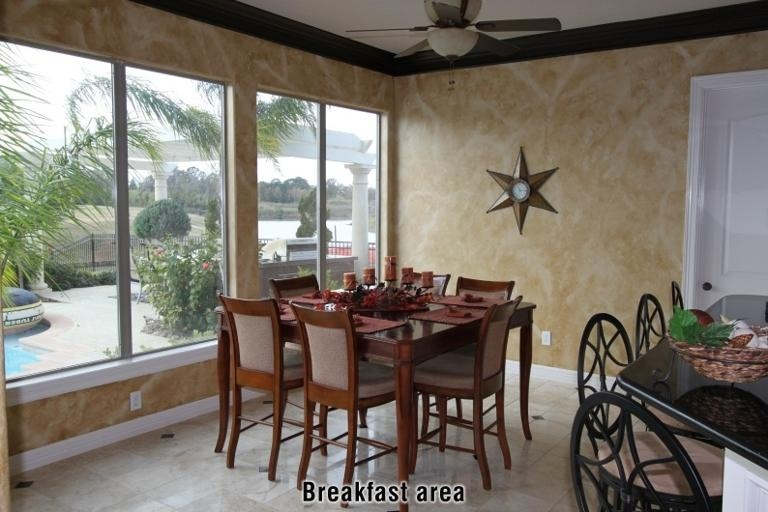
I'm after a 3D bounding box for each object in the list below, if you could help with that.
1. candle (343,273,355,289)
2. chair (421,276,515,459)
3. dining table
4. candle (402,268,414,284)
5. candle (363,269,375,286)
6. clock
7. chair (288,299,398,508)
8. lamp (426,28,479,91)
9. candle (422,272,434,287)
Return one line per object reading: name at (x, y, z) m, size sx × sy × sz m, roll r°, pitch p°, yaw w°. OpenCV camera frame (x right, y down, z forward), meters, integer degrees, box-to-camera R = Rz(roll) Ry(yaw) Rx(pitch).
candle at (-0.276, 0.211, 4.742) m, size 0.118 × 0.117 × 0.115 m, roll 0°, pitch -2°, yaw -24°
chair at (0.588, 1.000, 5.079) m, size 0.969 × 1.434 × 0.838 m, roll -14°, pitch 21°, yaw -31°
dining table at (-0.174, 0.698, 4.469) m, size 1.764 × 1.082 × 1.741 m, roll 1°, pitch 3°, yaw 36°
candle at (0.180, 0.166, 4.868) m, size 0.114 × 0.109 × 0.115 m, roll 3°, pitch 6°, yaw 41°
candle at (-0.124, 0.166, 4.846) m, size 0.093 × 0.144 × 0.209 m, roll -1°, pitch 13°, yaw -2°
clock at (1.466, -0.699, 6.132) m, size 0.984 × 1.188 × 0.128 m, roll 0°, pitch 1°, yaw 38°
chair at (-0.271, 0.978, 4.145) m, size 0.767 × 1.343 × 0.713 m, roll 4°, pitch 15°, yaw 16°
lamp at (0.494, -1.416, 4.302) m, size 0.409 × 0.415 × 0.401 m, roll 18°, pitch 44°, yaw 19°
candle at (0.380, 0.203, 4.980) m, size 0.118 × 0.117 × 0.111 m, roll 1°, pitch 4°, yaw -10°
